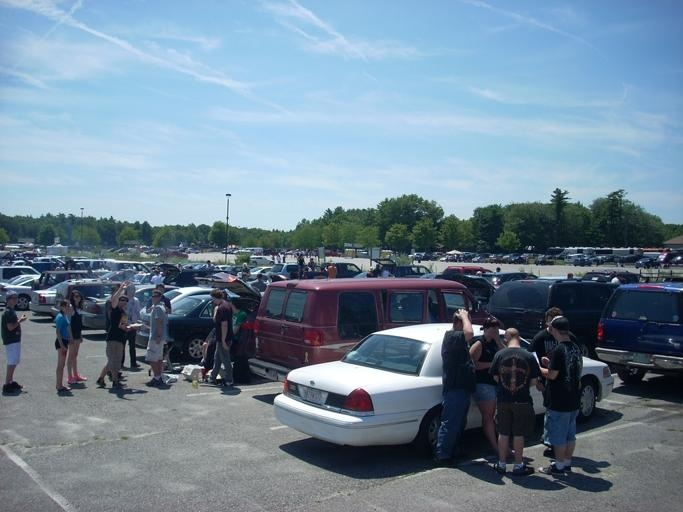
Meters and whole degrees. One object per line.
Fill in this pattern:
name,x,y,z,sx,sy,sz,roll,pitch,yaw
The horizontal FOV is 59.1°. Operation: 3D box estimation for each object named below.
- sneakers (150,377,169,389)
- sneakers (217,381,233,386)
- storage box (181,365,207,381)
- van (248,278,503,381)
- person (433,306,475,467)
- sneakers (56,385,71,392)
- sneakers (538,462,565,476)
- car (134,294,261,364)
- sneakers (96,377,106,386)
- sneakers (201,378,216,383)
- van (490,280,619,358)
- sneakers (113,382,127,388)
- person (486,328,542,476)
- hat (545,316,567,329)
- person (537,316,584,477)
sneakers,-3.819,2.650,12.735,0.176,0.183,0.450,6,6,33
sneakers,-2.445,2.706,12.791,0.327,0.108,0.197,0,4,-20
storage box,-3.250,2.552,13.168,0.412,0.282,0.460,-3,4,-31
van,0.410,1.133,12.107,3.747,1.587,1.865,-5,5,-29
person,1.624,1.881,8.733,0.582,2.151,0.455,0,4,-12
sneakers,-5.521,2.624,11.962,0.230,0.111,0.192,-1,4,-25
sneakers,2.941,2.958,8.443,0.334,0.139,0.148,2,1,42
car,-3.876,1.707,15.243,3.461,1.194,1.527,-5,5,-38
sneakers,-4.989,2.602,12.508,0.099,0.111,0.266,7,8,-2
sneakers,-2.863,2.701,12.993,0.145,0.069,0.179,3,1,-42
van,5.549,1.378,15.233,3.254,1.466,1.753,-7,8,-32
sneakers,-4.606,2.645,12.506,0.272,0.148,0.306,0,4,-19
person,2.427,2.157,8.428,0.652,1.741,0.361,2,4,15
hat,3.137,0.989,8.665,0.243,0.179,0.322,3,12,11
person,3.103,1.951,8.510,0.456,2.158,0.606,4,5,37
